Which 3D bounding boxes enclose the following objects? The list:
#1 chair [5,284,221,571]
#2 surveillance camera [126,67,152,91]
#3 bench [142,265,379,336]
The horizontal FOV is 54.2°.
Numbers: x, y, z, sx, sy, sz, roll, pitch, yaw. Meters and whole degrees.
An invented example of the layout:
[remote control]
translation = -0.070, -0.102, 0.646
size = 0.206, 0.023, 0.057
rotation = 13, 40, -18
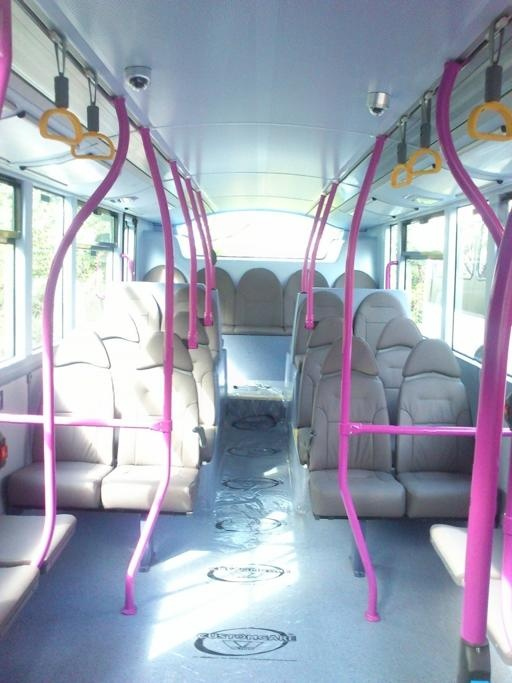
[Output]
[chair]
translation = -1.027, 0.297, 4.223
size = 1.406, 1.687, 3.189
rotation = 1, 4, -2
[surveillance camera]
translation = -0.470, -1.047, 1.980
size = 0.054, 0.045, 0.057
rotation = 0, 3, 1
[bench]
translation = 0.016, -0.528, 7.690
size = 2.915, 1.078, 0.903
rotation = 3, 5, 6
